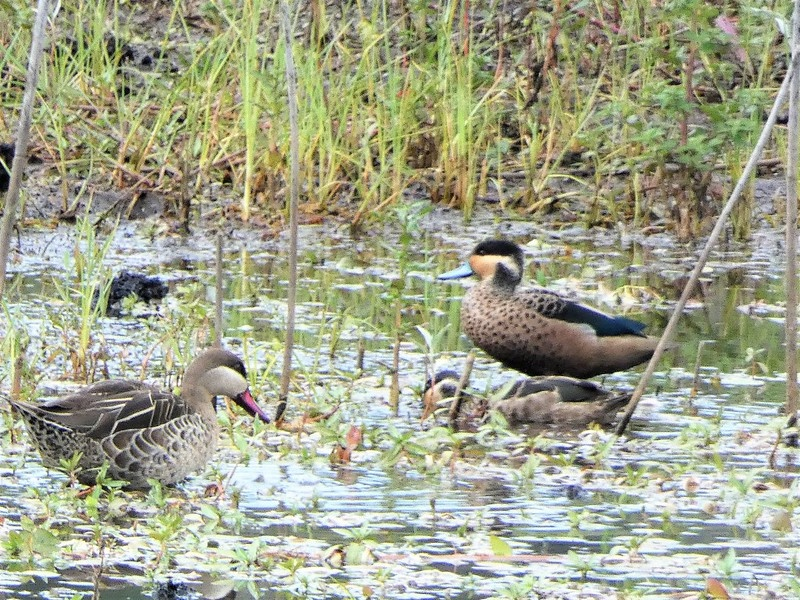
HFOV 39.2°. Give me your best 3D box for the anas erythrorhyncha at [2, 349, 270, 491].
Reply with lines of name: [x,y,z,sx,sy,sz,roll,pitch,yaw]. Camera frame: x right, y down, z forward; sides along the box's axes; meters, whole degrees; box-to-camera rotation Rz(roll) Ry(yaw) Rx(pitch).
anas erythrorhyncha: [-1.001,0.331,4.724,0.803,0.549,1.215,-7,18,-32]

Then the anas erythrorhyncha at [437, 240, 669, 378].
anas erythrorhyncha: [0.809,0.007,6.333,0.846,0.841,1.494,13,17,39]
